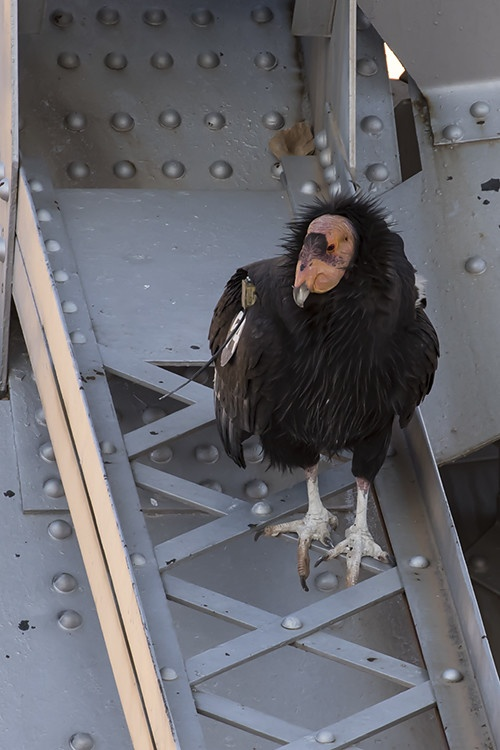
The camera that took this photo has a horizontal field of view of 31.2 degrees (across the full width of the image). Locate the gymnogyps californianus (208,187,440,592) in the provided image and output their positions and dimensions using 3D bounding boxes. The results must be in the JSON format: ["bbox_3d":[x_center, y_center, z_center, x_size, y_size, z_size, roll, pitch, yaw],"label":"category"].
[{"bbox_3d":[0.208,0.020,2.136,0.555,0.729,0.802,-2,8,-4],"label":"gymnogyps californianus"}]
